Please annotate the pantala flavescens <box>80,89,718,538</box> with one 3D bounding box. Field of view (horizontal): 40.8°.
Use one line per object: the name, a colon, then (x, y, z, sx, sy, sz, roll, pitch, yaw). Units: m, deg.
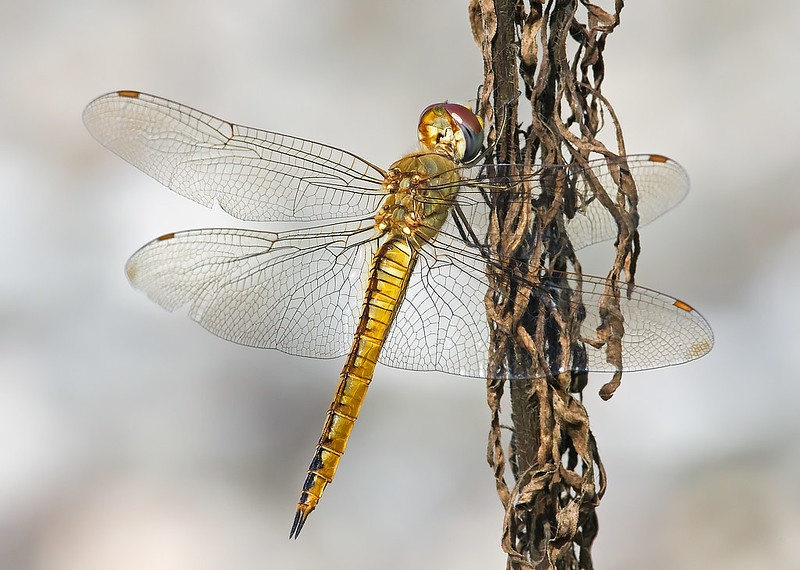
pantala flavescens: (-0.029, -0.001, 1.706, 1.019, 0.301, 0.550, 2, -75, 2)
